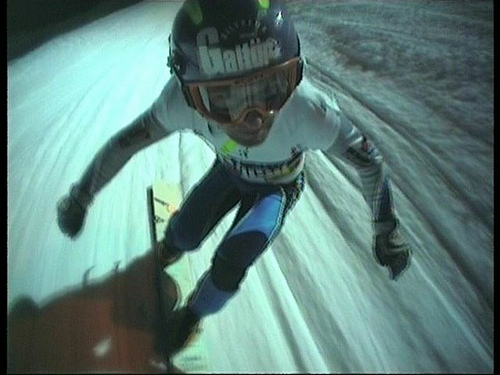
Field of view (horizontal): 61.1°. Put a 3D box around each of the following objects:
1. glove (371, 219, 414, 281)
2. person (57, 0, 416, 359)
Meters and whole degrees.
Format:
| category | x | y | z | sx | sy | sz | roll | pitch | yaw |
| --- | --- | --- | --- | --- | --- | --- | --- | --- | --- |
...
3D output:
| category | x | y | z | sx | sy | sz | roll | pitch | yaw |
| --- | --- | --- | --- | --- | --- | --- | --- | --- | --- |
| glove | 0.585 | 0.245 | 1.737 | 0.146 | 0.250 | 0.121 | -1 | 8 | 8 |
| person | -0.108 | 0.034 | 1.726 | 0.965 | 1.085 | 0.648 | 21 | 50 | 15 |
